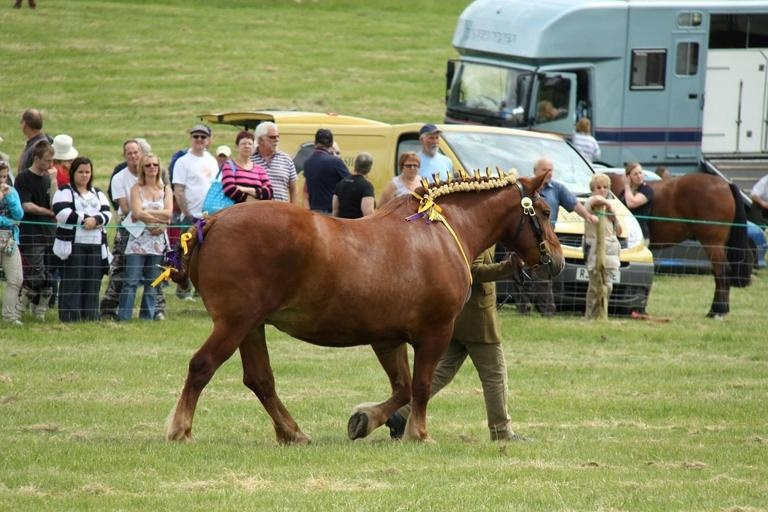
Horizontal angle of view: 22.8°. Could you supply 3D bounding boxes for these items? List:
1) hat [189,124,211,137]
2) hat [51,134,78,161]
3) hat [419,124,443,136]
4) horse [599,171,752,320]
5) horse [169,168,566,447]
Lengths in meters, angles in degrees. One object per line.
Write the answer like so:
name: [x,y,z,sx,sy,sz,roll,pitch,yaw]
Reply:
hat: [-4.005,-2.720,41.637,0.367,0.232,0.749,-1,6,-1]
hat: [-6.955,-2.323,41.361,0.529,0.291,0.552,3,34,-11]
hat: [0.983,-2.682,40.705,0.422,0.239,0.506,0,6,2]
horse: [6.006,-0.542,44.444,5.169,3.978,1.374,3,-6,4]
horse: [-0.229,1.054,36.680,7.832,5.386,2.676,-1,0,-20]
